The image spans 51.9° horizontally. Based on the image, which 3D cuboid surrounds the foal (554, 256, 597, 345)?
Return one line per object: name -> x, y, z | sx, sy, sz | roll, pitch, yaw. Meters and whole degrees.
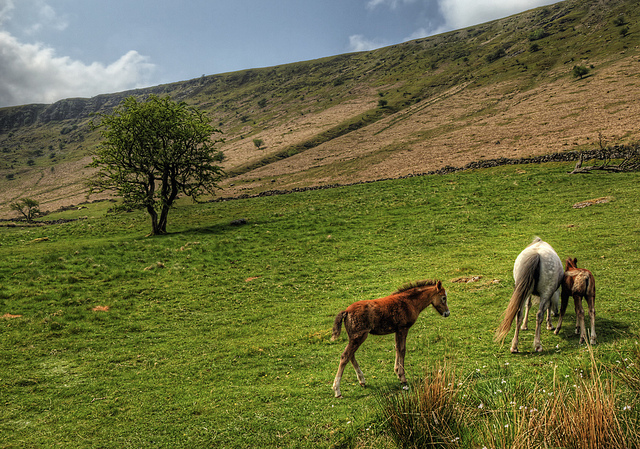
foal -> 40.437, 11.395, 103.777 | 4.989, 12.955, 16.551 | 2, -3, 11
